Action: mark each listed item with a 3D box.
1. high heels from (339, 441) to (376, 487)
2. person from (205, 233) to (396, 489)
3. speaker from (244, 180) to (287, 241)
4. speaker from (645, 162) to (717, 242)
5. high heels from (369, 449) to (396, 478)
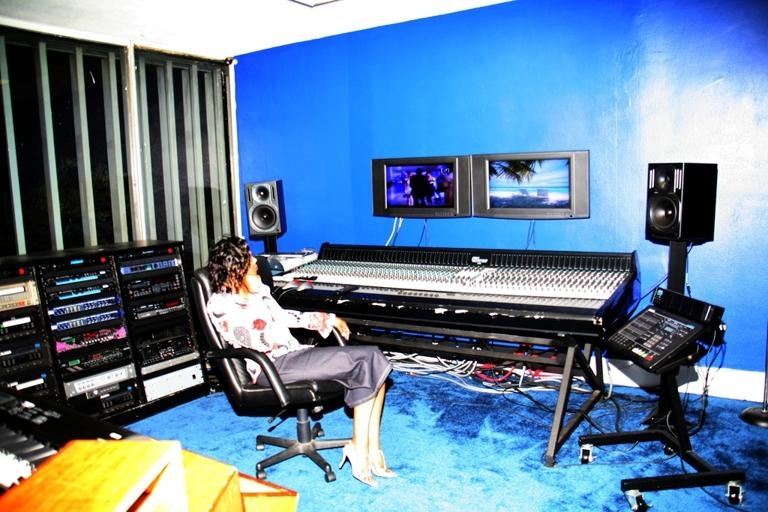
[{"bbox_3d":[-0.141,1.280,3.261,0.332,0.166,0.108,15,-9,41],"label":"high heels"},{"bbox_3d":[-0.523,0.662,3.383,1.216,1.295,0.756,4,10,24],"label":"person"},{"bbox_3d":[-1.128,-0.458,5.091,0.376,0.491,0.340,-6,8,-17],"label":"speaker"},{"bbox_3d":[2.037,-0.392,3.660,0.386,0.499,0.360,-5,12,-1],"label":"speaker"},{"bbox_3d":[-0.032,1.292,3.316,0.090,0.110,0.271,2,-5,-33],"label":"high heels"}]
